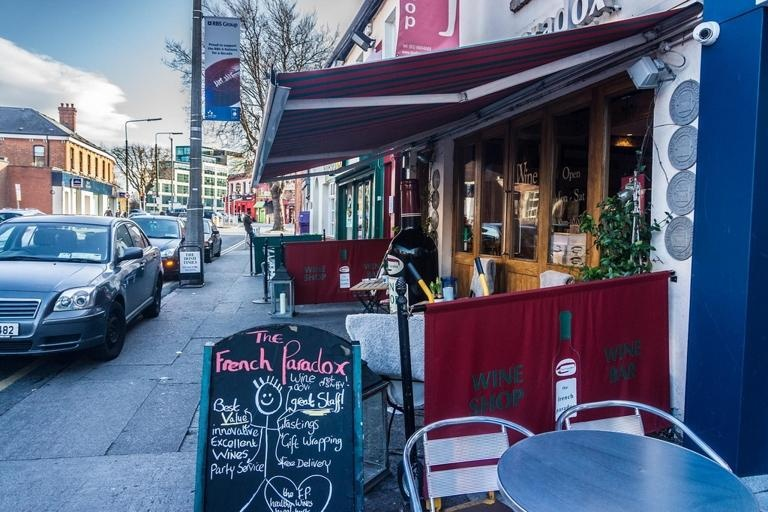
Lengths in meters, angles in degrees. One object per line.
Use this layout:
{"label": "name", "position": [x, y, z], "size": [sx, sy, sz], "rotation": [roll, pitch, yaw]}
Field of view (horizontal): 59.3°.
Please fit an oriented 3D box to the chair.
{"label": "chair", "position": [1.526, 1.240, 5.706], "size": [2.794, 2.085, 1.869], "rotation": [0, 2, 0]}
